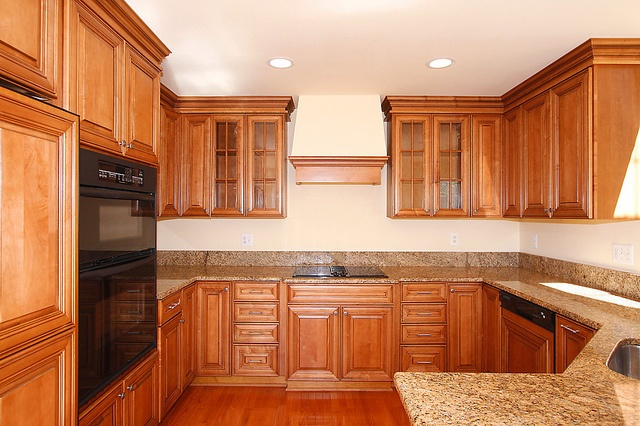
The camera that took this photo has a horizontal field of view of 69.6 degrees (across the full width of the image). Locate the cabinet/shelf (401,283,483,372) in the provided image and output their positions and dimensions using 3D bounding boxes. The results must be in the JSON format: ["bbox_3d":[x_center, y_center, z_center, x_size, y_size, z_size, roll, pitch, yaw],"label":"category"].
[{"bbox_3d":[1.079,0.999,4.145,0.851,0.889,0.483,0,-4,-2],"label":"cabinet/shelf"}]

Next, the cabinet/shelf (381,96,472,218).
[{"bbox_3d":[1.045,-0.539,4.353,1.232,1.344,0.446,0,-3,-1],"label":"cabinet/shelf"}]

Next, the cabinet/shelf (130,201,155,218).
[{"bbox_3d":[-1.221,-0.030,3.184,0.182,0.108,0.096,3,7,29],"label":"cabinet/shelf"}]

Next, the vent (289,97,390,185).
[{"bbox_3d":[0.184,-0.680,4.275,0.881,0.710,0.321,0,-9,-1],"label":"vent"}]

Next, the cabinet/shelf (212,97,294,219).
[{"bbox_3d":[-0.524,-0.520,4.329,0.491,1.119,0.155,-1,-1,-9],"label":"cabinet/shelf"}]

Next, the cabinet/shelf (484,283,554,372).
[{"bbox_3d":[1.591,0.904,3.632,0.328,0.771,0.806,1,-2,-3],"label":"cabinet/shelf"}]

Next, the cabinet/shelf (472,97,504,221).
[{"bbox_3d":[1.578,-0.454,4.355,0.287,0.976,0.078,-1,-1,-9],"label":"cabinet/shelf"}]

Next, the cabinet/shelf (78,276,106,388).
[{"bbox_3d":[-1.365,0.726,2.755,0.080,0.674,0.221,-2,-1,11],"label":"cabinet/shelf"}]

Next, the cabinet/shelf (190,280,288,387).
[{"bbox_3d":[-0.722,1.036,4.125,1.060,0.930,0.419,1,-3,-1],"label":"cabinet/shelf"}]

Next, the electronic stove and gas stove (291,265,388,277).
[{"bbox_3d":[0.180,0.554,4.358,0.846,0.084,0.547,-1,-2,-2],"label":"electronic stove and gas stove"}]
